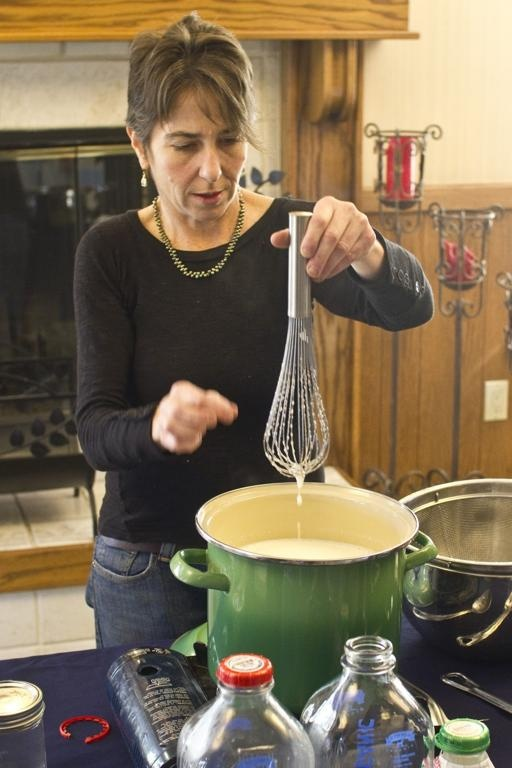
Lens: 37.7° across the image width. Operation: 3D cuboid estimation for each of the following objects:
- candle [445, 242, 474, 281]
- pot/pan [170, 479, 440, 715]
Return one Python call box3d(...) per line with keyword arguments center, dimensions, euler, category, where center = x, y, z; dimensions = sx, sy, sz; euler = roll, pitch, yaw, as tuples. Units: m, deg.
box3d(center=(0.532, -0.319, 1.981), dimensions=(0.100, 0.111, 0.066), euler=(-2, 2, -3), category="candle")
box3d(center=(0.041, 0.138, 0.679), dimensions=(0.233, 0.140, 0.184), euler=(-1, 5, -10), category="pot/pan")
